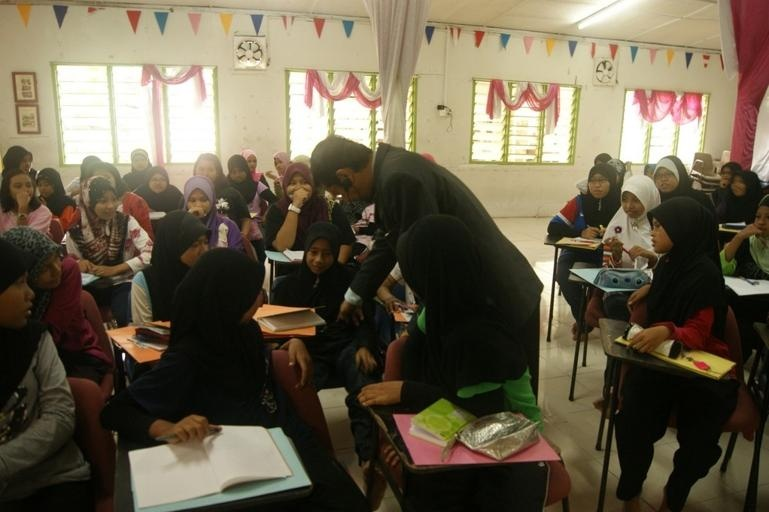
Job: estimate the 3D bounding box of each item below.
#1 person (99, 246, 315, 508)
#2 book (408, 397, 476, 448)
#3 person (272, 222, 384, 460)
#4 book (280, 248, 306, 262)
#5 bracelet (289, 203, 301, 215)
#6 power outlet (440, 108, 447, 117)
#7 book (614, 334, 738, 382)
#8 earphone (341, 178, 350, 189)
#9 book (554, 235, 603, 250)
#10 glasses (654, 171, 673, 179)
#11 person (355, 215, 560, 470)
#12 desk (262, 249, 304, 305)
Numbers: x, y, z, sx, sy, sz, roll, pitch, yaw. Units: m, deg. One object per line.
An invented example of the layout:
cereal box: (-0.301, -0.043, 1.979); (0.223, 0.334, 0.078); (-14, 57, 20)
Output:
person: (-1.038, 0.399, 3.600); (0.998, 1.785, 1.451); (-1, 5, 8)
book: (0.263, 0.745, 2.653); (0.275, 0.069, 0.260); (-15, 22, -33)
person: (-0.343, 0.398, 3.510); (0.725, 1.071, 1.571); (-5, 14, -10)
book: (-0.695, -0.003, 4.633); (0.138, 0.026, 0.151); (-1, 21, -20)
bracelet: (-0.756, -0.381, 4.911); (0.092, 0.064, 0.097); (13, -6, 17)
power outlet: (0.915, -2.220, 9.240); (0.133, 0.116, 0.092); (1, 6, 0)
book: (1.540, 0.536, 2.992); (0.415, 0.080, 0.182); (2, 11, 6)
earphone: (-0.217, -0.401, 3.262); (0.051, 0.045, 0.012); (0, 15, -1)
book: (1.510, -0.093, 4.628); (0.333, 0.061, 0.387); (4, 11, 18)
glasses: (2.325, -0.682, 4.967); (0.074, 0.020, 0.073); (25, -23, -25)
person: (0.294, 0.406, 2.948); (0.841, 1.043, 0.768); (-15, 16, -38)
desk: (-0.725, 0.144, 4.281); (0.376, 0.478, 0.279); (-1, 21, -13)
